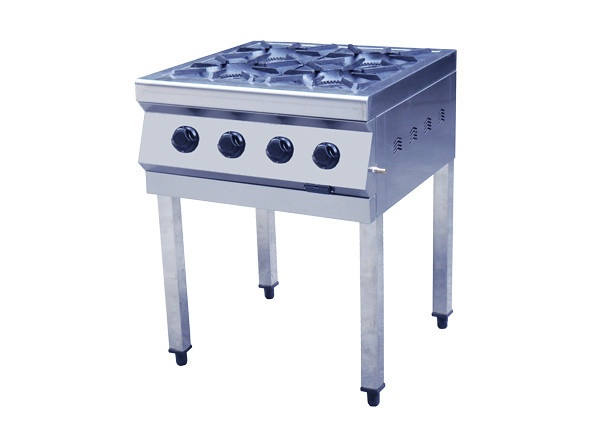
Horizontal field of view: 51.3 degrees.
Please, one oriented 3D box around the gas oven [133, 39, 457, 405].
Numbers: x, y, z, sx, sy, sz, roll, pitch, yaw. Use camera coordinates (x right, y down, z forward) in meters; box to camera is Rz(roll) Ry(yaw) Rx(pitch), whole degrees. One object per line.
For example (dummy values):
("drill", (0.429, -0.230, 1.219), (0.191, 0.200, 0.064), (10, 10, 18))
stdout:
("gas oven", (0.028, -0.037, 2.666), (1.277, 1.282, 1.181), (-5, -75, -20))
